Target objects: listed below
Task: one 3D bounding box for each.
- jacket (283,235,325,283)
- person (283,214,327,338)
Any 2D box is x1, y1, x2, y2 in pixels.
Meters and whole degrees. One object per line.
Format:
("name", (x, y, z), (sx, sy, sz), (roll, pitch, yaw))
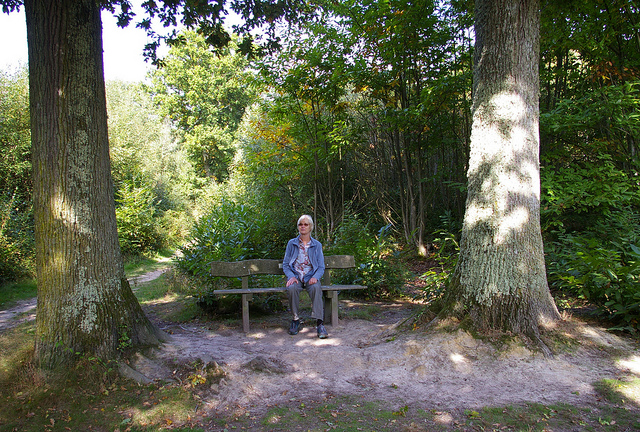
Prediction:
("jacket", (-0.316, 0.820, 8.806), (0.827, 0.873, 0.589), (3, 15, 2))
("person", (-0.302, 1.104, 8.669), (0.814, 2.110, 1.222), (-2, 11, 0))
